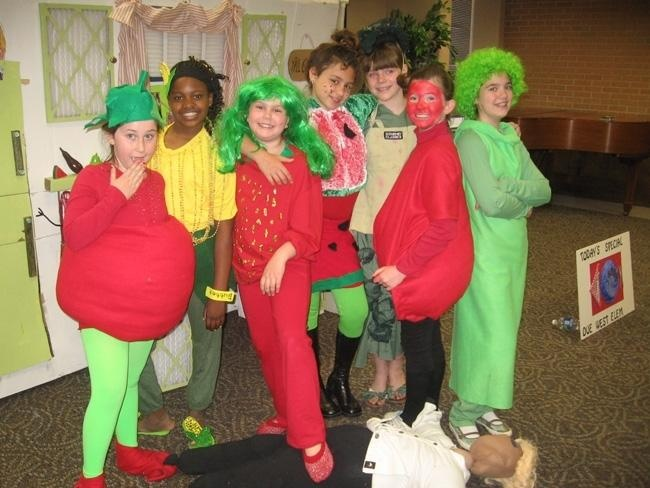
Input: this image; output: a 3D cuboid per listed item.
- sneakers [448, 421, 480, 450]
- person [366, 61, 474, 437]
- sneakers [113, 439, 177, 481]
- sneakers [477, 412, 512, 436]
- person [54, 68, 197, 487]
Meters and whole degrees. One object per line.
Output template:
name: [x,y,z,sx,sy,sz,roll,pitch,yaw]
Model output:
sneakers: [0.707,0.982,2.581,0.088,0.078,0.180,-2,25,-17]
person: [0.449,0.024,2.326,0.453,1.684,0.369,0,12,6]
sneakers: [-0.839,0.999,2.299,0.217,0.215,0.118,-2,44,-12]
sneakers: [0.874,0.936,2.640,0.088,0.084,0.230,-7,4,-16]
person: [-0.804,0.222,2.040,0.546,1.806,0.333,-6,13,-20]
